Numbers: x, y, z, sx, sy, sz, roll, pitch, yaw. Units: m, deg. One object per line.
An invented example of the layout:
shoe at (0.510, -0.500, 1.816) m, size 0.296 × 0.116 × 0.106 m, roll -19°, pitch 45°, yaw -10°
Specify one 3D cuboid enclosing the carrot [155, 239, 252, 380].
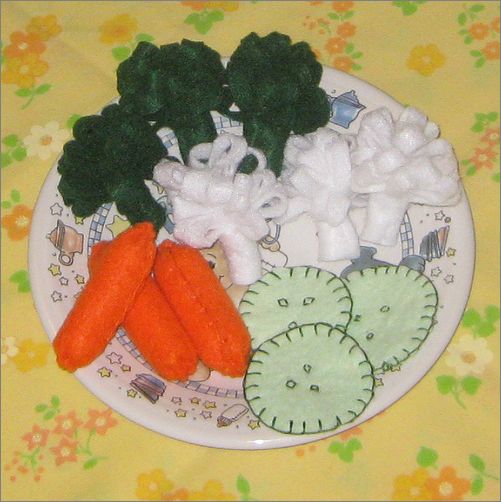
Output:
carrot at (-0.064, 0.098, 1.218) m, size 0.130 × 0.089 × 0.250 m, roll -38°, pitch 84°, yaw 4°
